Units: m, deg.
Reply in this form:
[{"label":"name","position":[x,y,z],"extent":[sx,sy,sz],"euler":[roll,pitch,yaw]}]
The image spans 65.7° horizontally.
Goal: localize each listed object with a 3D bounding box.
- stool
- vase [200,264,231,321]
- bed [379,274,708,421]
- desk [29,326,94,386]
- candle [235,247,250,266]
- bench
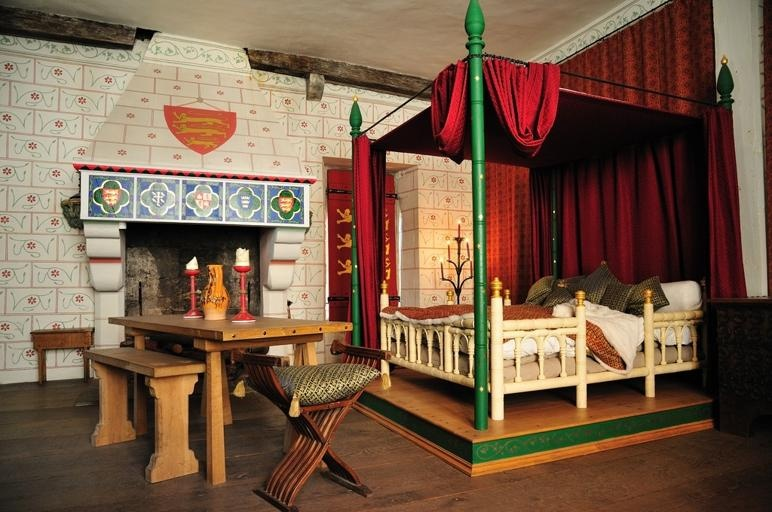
[{"label":"stool","position":[-0.676,1.556,5.545],"extent":[1.588,1.363,1.339],"euler":[4,-6,-34]},{"label":"vase","position":[-1.740,0.369,6.071],"extent":[0.259,0.499,0.314],"euler":[-3,-1,-16]},{"label":"bed","position":[1.762,0.912,7.192],"extent":[3.328,1.093,2.926],"euler":[-1,-1,-35]},{"label":"desk","position":[-4.182,1.267,7.656],"extent":[0.880,0.681,0.338],"euler":[0,2,-17]},{"label":"candle","position":[-1.452,0.013,6.061],"extent":[0.123,0.174,0.339],"euler":[-3,-1,-11]},{"label":"bench","position":[-2.317,1.559,5.739],"extent":[0.464,0.692,1.353],"euler":[0,-1,-36]}]
